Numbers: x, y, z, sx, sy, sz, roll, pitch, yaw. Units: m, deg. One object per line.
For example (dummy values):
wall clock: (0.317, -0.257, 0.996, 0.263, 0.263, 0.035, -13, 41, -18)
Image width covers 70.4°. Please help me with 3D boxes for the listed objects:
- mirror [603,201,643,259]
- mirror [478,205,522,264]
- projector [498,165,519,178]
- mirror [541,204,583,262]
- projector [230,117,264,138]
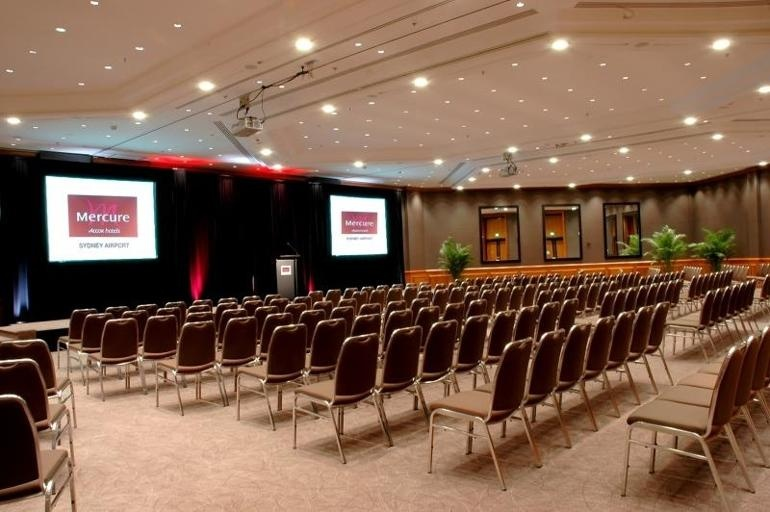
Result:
mirror: (10.956, -1.226, 25.232, 2.605, 4.320, 0.206, 1, -4, -34)
mirror: (5.216, -1.056, 24.683, 2.477, 3.722, 0.215, -1, -3, 6)
projector: (4.213, -2.948, 18.783, 0.655, 0.323, 0.714, 0, 0, 18)
mirror: (8.101, -1.038, 24.976, 2.529, 3.740, 0.171, -1, -2, 2)
projector: (-3.017, -2.759, 11.572, 0.456, 0.309, 0.834, 5, -10, -40)
